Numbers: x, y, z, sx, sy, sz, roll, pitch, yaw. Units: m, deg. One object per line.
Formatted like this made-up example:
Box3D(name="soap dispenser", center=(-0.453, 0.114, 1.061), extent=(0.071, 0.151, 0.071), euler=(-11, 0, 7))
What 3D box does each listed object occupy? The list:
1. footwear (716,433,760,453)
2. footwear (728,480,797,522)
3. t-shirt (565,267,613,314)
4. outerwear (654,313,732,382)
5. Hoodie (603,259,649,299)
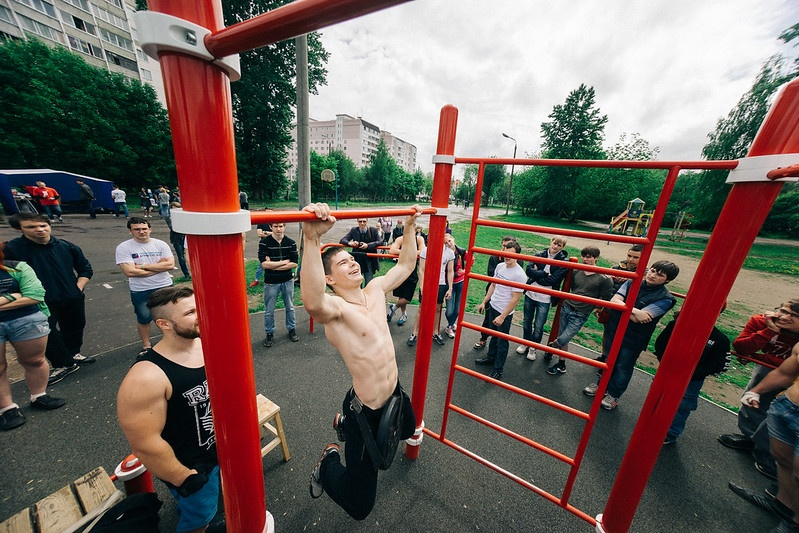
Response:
Box3D(name="footwear", center=(5.134, 2.657, 6.379), extent=(0.529, 0.205, 0.200), euler=(8, 0, 38))
Box3D(name="footwear", center=(4.969, 3.175, 5.847), extent=(0.256, 0.341, 0.751), euler=(8, 6, -36))
Box3D(name="t-shirt", center=(3.264, 0.382, 7.368), extent=(0.493, 0.787, 0.827), euler=(-3, 23, -39))
Box3D(name="outerwear", center=(4.564, 1.272, 6.507), extent=(0.640, 0.956, 1.084), euler=(1, 12, -27))
Box3D(name="Hoodie", center=(3.324, 0.199, 6.121), extent=(0.594, 0.712, 0.450), euler=(3, 12, 20))
